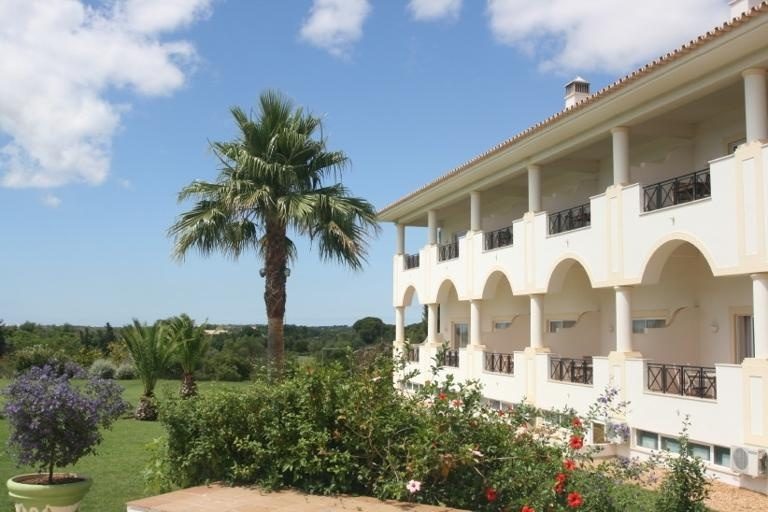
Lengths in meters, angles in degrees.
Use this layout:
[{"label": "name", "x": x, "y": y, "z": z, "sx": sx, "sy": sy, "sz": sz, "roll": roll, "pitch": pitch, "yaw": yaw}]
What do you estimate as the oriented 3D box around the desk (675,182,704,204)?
[{"label": "desk", "x": 9.024, "y": -1.901, "z": 19.178, "sx": 0.975, "sy": 0.511, "sz": 2.449, "roll": -6, "pitch": 0, "yaw": 26}]
